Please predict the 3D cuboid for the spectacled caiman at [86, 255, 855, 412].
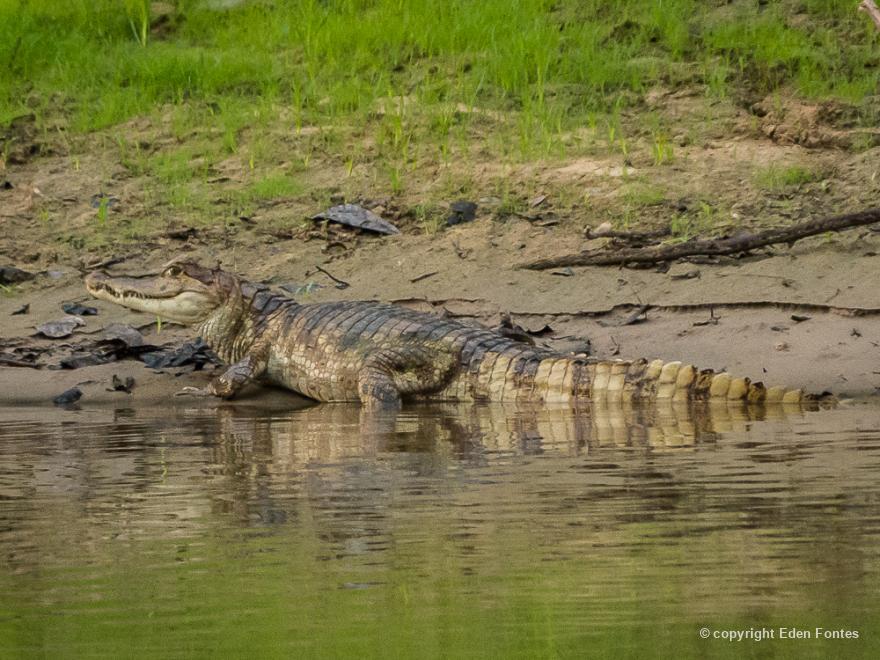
[{"bbox_3d":[-0.039,0.145,13.859,6.743,0.960,1.886,7,19,28],"label":"spectacled caiman"}]
